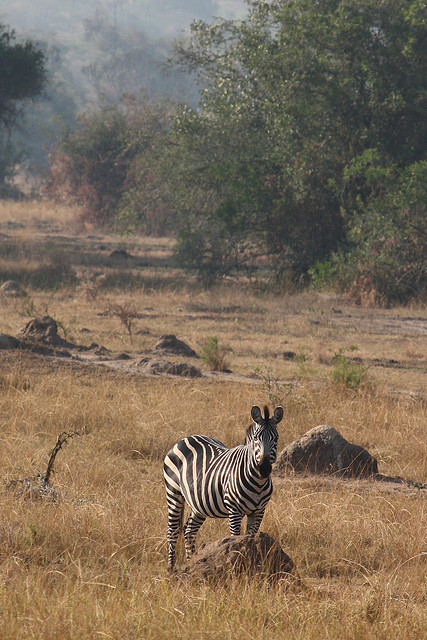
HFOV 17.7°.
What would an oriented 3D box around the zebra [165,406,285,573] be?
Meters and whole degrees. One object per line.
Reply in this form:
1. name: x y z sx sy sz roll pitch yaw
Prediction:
1. zebra: 0.064 2.092 16.800 1.786 2.291 0.628 1 10 37
